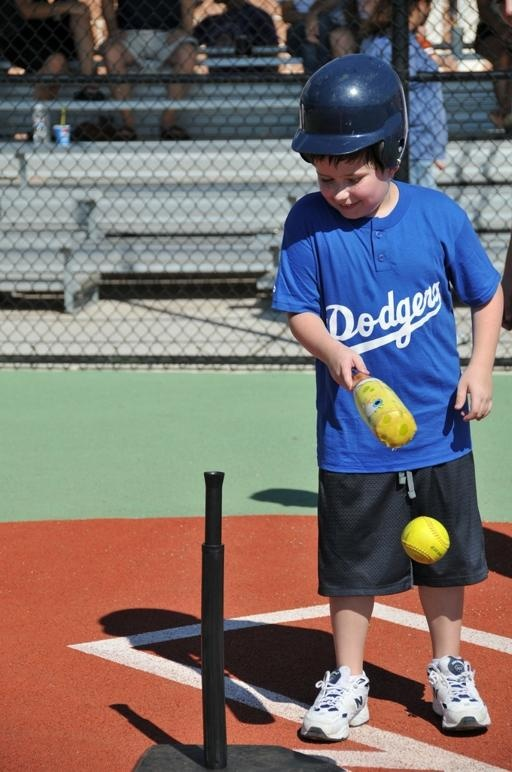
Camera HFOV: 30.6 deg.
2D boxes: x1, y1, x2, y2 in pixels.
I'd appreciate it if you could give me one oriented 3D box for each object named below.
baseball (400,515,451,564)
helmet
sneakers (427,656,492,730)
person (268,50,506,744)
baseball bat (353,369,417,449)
[{"bbox_3d":[0.404,0.371,2.232,0.108,0.105,0.093,-4,18,2],"label":"baseball"},{"bbox_3d":[0.211,-0.654,2.263,0.280,0.242,0.340,12,37,21],"label":"helmet"},{"bbox_3d":[0.510,0.768,2.385,0.117,0.135,0.304,-4,1,-2],"label":"sneakers"},{"bbox_3d":[0.343,0.062,2.308,0.606,1.696,0.563,-5,19,0],"label":"person"},{"bbox_3d":[0.279,0.047,2.123,0.100,0.073,0.186,-17,38,-16],"label":"baseball bat"}]
